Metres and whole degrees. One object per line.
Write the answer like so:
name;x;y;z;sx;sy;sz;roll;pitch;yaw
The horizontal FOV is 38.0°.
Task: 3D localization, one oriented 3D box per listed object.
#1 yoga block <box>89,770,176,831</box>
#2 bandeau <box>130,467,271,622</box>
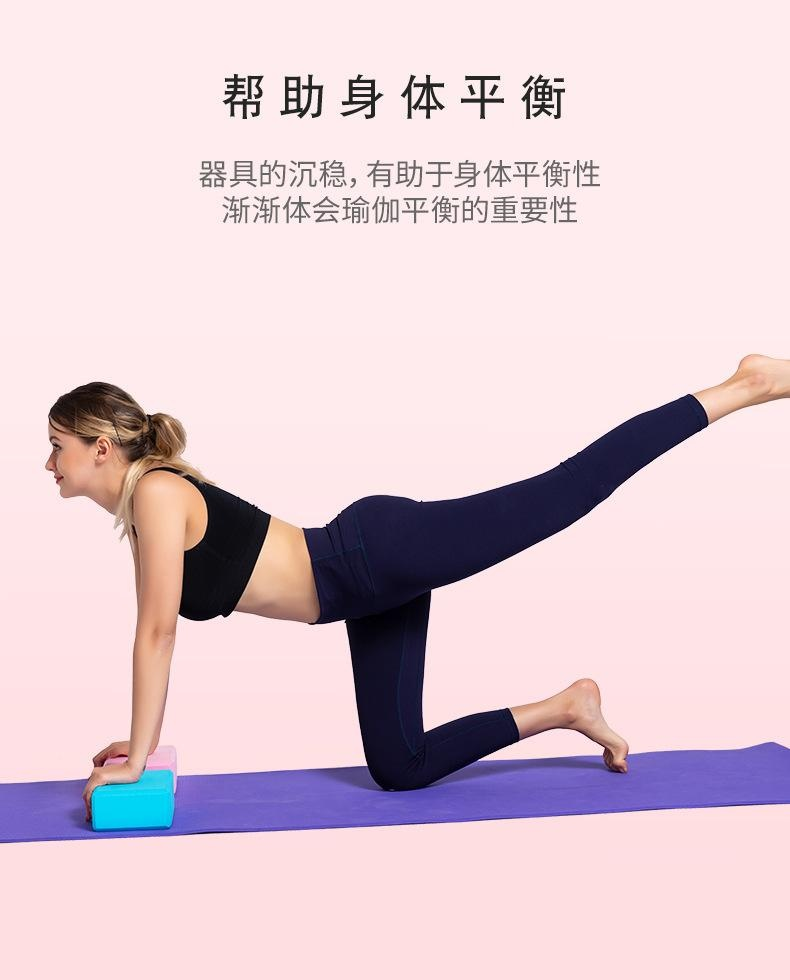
yoga block;-0.725;0.861;3.191;0.221;0.191;0.169;2;-28;-10
bandeau;-0.542;0.156;3.270;0.322;0.380;0.281;9;-31;-21
